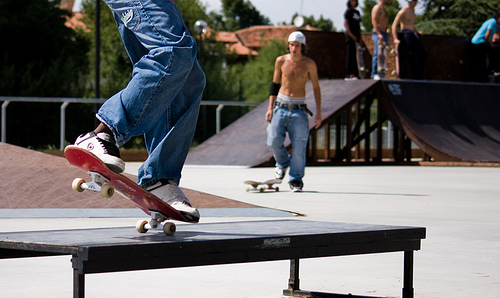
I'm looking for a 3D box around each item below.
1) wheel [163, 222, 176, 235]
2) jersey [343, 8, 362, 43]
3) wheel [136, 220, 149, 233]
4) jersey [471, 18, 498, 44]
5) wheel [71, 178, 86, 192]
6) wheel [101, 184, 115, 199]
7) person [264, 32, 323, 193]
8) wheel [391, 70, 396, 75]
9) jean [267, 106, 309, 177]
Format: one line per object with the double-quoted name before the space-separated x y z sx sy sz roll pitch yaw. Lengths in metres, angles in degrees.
"wheel" -0.967 0.965 11.379 0.138 0.147 0.145 0 5 0
"jersey" 2.387 -2.852 22.066 0.296 0.761 0.669 2 4 30
"wheel" -1.314 0.953 11.510 0.137 0.154 0.100 -1 3 -11
"jersey" 6.099 -3.021 24.415 0.365 0.613 0.954 -1 3 -17
"wheel" -2.077 0.446 11.479 0.129 0.155 0.150 0 3 -9
"wheel" -1.712 0.504 11.371 0.151 0.159 0.169 0 3 -9
"person" 0.753 -0.665 17.034 0.992 2.852 0.947 1 3 13
"wheel" 3.629 -1.911 23.859 0.101 0.050 0.144 -4 26 7
"jean" 0.662 -0.135 16.964 0.732 1.247 0.548 1 3 9
